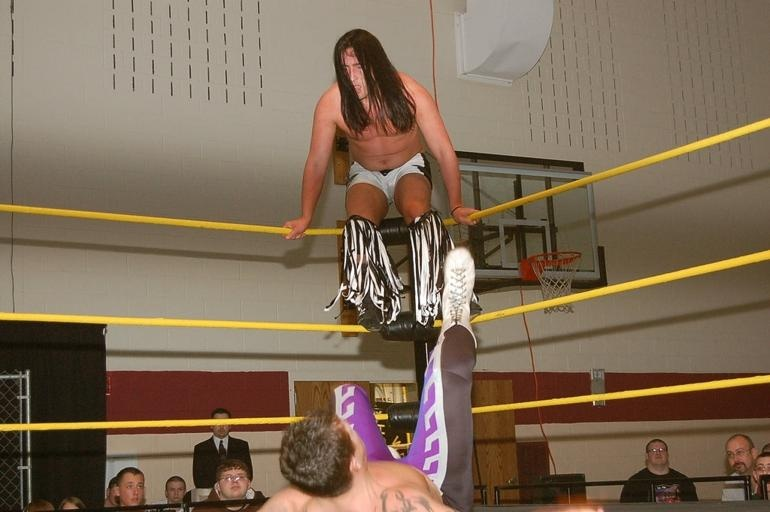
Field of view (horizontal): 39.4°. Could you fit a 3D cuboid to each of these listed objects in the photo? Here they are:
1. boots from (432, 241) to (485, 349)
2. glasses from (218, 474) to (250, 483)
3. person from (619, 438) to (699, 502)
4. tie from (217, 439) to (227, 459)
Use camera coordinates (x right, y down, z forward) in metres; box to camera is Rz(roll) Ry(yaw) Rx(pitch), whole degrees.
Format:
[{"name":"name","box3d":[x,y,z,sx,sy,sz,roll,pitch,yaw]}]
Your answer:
[{"name":"boots","box3d":[0.593,0.284,8.763,0.218,0.862,0.317,1,6,3]},{"name":"glasses","box3d":[-1.501,2.150,10.661,0.251,0.072,0.078,0,-12,-10]},{"name":"person","box3d":[3.084,2.404,12.261,0.692,0.633,0.422,-9,-48,25]},{"name":"tie","box3d":[-1.808,2.090,11.889,0.095,0.203,0.039,0,-5,-10]}]
